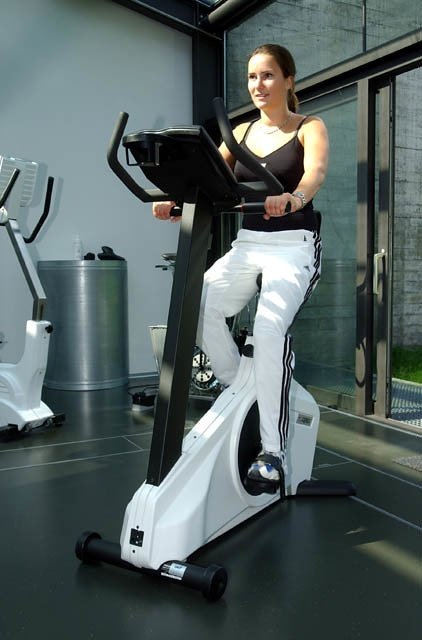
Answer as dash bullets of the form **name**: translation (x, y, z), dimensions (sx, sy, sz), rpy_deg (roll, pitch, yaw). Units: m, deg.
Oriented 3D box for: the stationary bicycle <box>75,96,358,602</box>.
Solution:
- **stationary bicycle**: translation (-0.005, 0.086, 1.465), dimensions (0.616, 1.136, 0.403), rpy_deg (-2, 3, -39)
